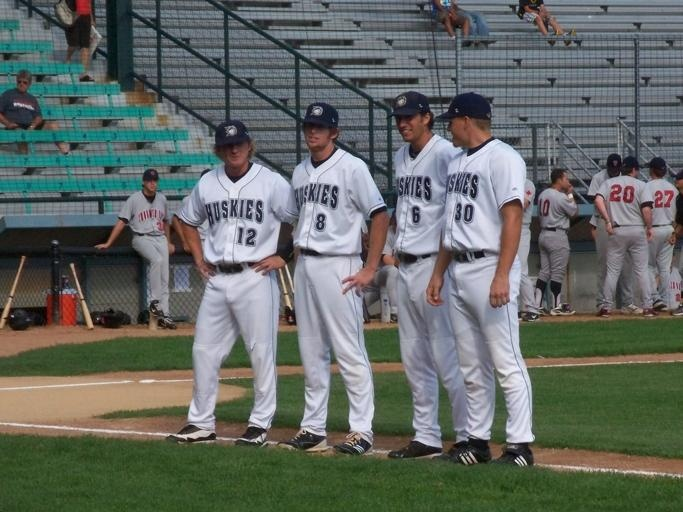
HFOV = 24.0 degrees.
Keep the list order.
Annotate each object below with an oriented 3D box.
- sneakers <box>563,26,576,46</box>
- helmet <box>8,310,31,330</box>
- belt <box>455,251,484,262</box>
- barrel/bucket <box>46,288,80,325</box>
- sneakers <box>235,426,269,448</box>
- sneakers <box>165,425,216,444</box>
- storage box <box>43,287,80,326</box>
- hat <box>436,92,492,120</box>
[{"bbox_3d":[5.289,-5.096,37.465,0.165,0.216,0.516,6,27,13],"label":"sneakers"},{"bbox_3d":[-5.478,1.087,27.415,0.392,0.334,0.474,-1,2,-11],"label":"helmet"},{"bbox_3d":[1.588,0.012,20.096,0.388,0.133,0.084,-1,1,8],"label":"belt"},{"bbox_3d":[-4.806,0.875,27.881,0.587,0.912,0.623,1,-4,0],"label":"barrel/bucket"},{"bbox_3d":[-1.118,2.321,20.630,0.206,0.153,0.365,-6,-9,33],"label":"sneakers"},{"bbox_3d":[-1.953,2.305,20.752,0.639,0.251,0.230,4,-6,-8],"label":"sneakers"},{"bbox_3d":[-4.803,0.895,27.870,0.592,0.924,0.630,2,-4,-17],"label":"storage box"},{"bbox_3d":[1.579,-1.892,20.301,0.527,0.287,0.363,6,8,12],"label":"hat"}]
